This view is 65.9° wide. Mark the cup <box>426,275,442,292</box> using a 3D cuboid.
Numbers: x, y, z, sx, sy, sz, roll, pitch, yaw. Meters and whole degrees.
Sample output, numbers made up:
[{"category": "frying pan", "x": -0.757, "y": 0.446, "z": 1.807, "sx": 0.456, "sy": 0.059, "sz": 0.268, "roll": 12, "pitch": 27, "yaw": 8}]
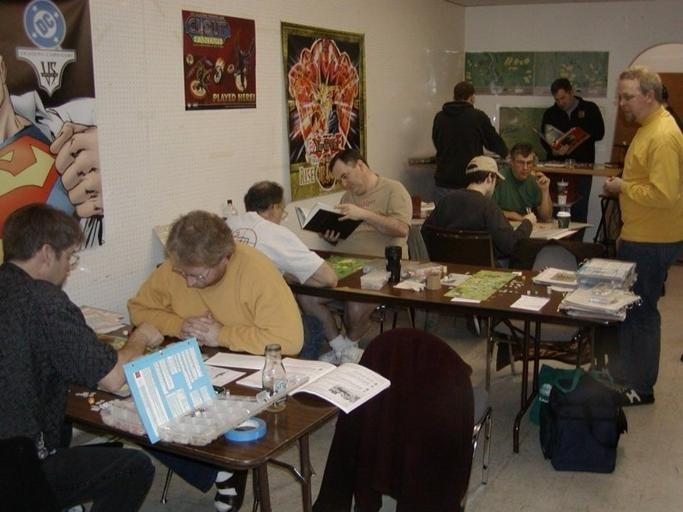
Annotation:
[{"category": "cup", "x": 0.579, "y": 0.169, "z": 3.283, "sx": 0.064, "sy": 0.074, "sz": 0.108, "roll": 4, "pitch": 7, "yaw": 37}]

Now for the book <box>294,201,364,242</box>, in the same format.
[{"category": "book", "x": -0.105, "y": -0.246, "z": 3.902, "sx": 0.253, "sy": 0.125, "sz": 0.343, "roll": -27, "pitch": -20, "yaw": 34}]

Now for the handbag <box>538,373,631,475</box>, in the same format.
[{"category": "handbag", "x": 1.430, "y": 0.988, "z": 3.218, "sx": 0.516, "sy": 0.566, "sz": 0.410, "roll": 1, "pitch": 0, "yaw": 17}]

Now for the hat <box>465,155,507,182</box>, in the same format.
[{"category": "hat", "x": 1.244, "y": -0.700, "z": 4.418, "sx": 0.343, "sy": 0.196, "sz": 0.244, "roll": -1, "pitch": 9, "yaw": -26}]

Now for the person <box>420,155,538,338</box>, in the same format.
[{"category": "person", "x": 1.302, "y": -0.216, "z": 4.415, "sx": 0.812, "sy": 1.366, "sz": 0.953, "roll": -29, "pitch": 39, "yaw": -34}]

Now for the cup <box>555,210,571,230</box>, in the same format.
[{"category": "cup", "x": 1.995, "y": -0.314, "z": 4.687, "sx": 0.153, "sy": 0.156, "sz": 0.157, "roll": -1, "pitch": 4, "yaw": 0}]

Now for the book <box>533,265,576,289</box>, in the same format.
[{"category": "book", "x": 1.378, "y": 0.143, "z": 3.325, "sx": 0.155, "sy": 0.039, "sz": 0.161, "roll": 13, "pitch": 21, "yaw": 39}]

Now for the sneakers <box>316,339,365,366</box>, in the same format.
[{"category": "sneakers", "x": 0.024, "y": 0.728, "z": 3.922, "sx": 0.255, "sy": 0.135, "sz": 0.332, "roll": 3, "pitch": 12, "yaw": 23}]

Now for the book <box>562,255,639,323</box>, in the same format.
[{"category": "book", "x": 1.463, "y": 0.181, "z": 2.906, "sx": 0.309, "sy": 0.126, "sz": 0.459, "roll": 7, "pitch": 27, "yaw": 35}]

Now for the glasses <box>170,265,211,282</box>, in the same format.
[{"category": "glasses", "x": -0.681, "y": 0.091, "z": 2.417, "sx": 0.097, "sy": 0.034, "sz": 0.104, "roll": 17, "pitch": 12, "yaw": 14}]

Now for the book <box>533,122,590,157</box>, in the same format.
[{"category": "book", "x": 3.011, "y": -1.522, "z": 7.099, "sx": 0.381, "sy": 0.534, "sz": 0.163, "roll": 44, "pitch": 2, "yaw": 18}]
